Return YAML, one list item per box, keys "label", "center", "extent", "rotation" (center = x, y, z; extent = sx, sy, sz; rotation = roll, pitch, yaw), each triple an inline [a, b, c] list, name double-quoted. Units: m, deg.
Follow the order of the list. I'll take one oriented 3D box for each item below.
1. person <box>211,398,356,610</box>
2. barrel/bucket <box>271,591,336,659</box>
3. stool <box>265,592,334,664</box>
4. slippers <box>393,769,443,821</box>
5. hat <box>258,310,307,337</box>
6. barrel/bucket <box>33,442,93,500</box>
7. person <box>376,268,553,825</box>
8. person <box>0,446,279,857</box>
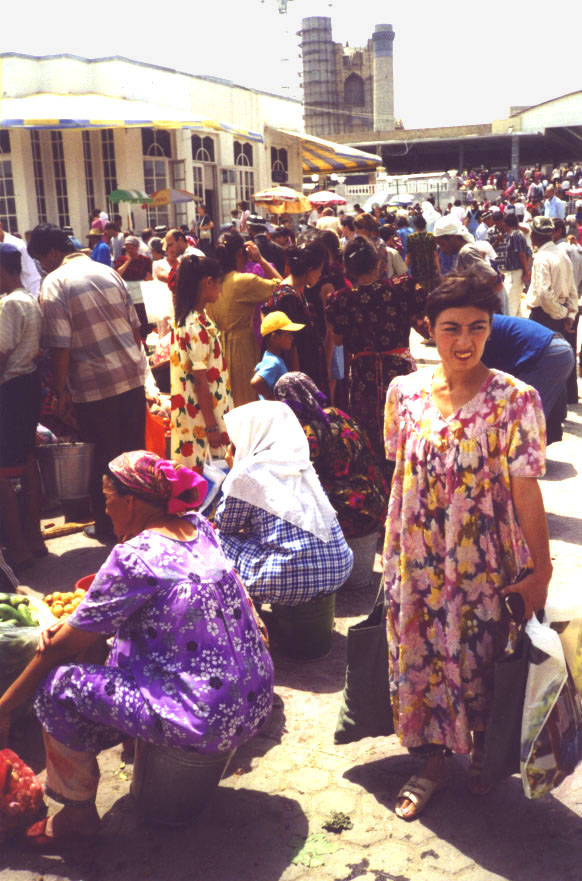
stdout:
- label: "person"
  center: [-0.054, 0.187, 3.104]
  extent: [0.583, 0.867, 0.759]
  rotation: [-15, 15, -17]
- label: "barrel/bucket"
  center: [0.024, 0.751, 3.105]
  extent: [0.285, 0.311, 0.291]
  rotation: [-1, 3, 0]
- label: "stool"
  center: [0.096, 0.786, 3.117]
  extent: [0.247, 0.253, 0.253]
  rotation: [-2, -4, 18]
- label: "slippers"
  center: [0.367, 1.039, 2.099]
  extent: [0.072, 0.068, 0.190]
  rotation: [2, 7, 32]
- label: "hat"
  center: [-0.054, -0.643, 3.907]
  extent: [0.224, 0.115, 0.141]
  rotation: [-4, 15, 1]
- label: "barrel/bucket"
  center: [-1.287, 0.178, 4.152]
  extent: [0.320, 0.366, 0.321]
  rotation: [2, 2, 0]
- label: "person"
  center: [0.474, 0.317, 2.021]
  extent: [0.469, 1.543, 0.318]
  rotation: [1, 8, 19]
- label: "person"
  center: [-0.452, 0.504, 2.349]
  extent: [0.930, 1.261, 0.772]
  rotation: [7, 4, 20]
